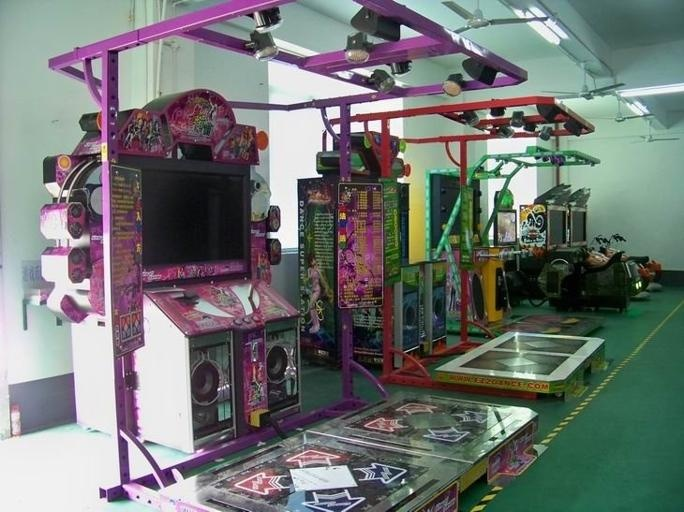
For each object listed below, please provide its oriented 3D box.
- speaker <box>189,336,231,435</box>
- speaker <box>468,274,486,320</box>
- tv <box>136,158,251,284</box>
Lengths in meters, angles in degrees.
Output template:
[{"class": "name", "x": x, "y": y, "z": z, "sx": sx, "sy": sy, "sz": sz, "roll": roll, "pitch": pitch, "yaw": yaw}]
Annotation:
[{"class": "speaker", "x": -1.075, "y": 1.073, "z": 4.536, "sx": 0.106, "sy": 0.846, "sz": 0.398, "roll": 5, "pitch": 8, "yaw": 35}, {"class": "speaker", "x": 2.180, "y": 0.665, "z": 8.779, "sx": 0.196, "sy": 0.797, "sz": 0.561, "roll": 3, "pitch": 7, "yaw": 27}, {"class": "tv", "x": -1.551, "y": -0.324, "z": 5.148, "sx": 0.637, "sy": 1.014, "sz": 1.172, "roll": 4, "pitch": 6, "yaw": 40}]
